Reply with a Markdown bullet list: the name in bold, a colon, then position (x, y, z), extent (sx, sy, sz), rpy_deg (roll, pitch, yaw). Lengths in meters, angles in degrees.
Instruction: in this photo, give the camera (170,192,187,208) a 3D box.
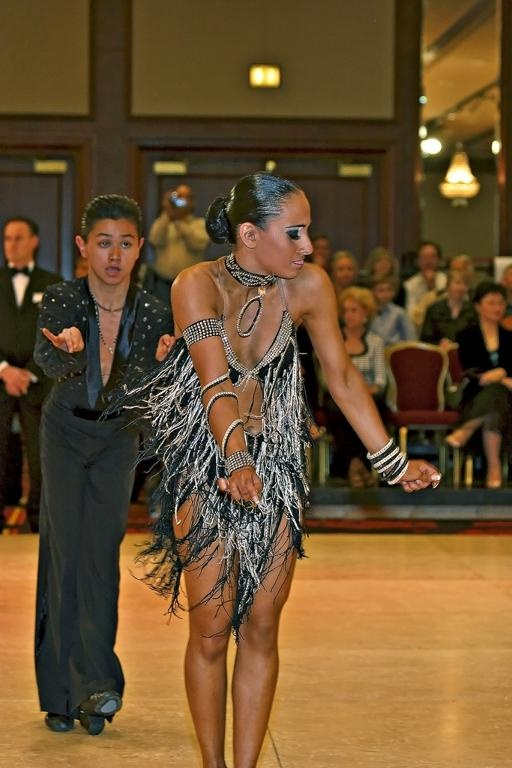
- **camera**: position (-0.648, -1.516, 6.366), extent (0.154, 0.086, 0.147), rpy_deg (8, 35, -12)
